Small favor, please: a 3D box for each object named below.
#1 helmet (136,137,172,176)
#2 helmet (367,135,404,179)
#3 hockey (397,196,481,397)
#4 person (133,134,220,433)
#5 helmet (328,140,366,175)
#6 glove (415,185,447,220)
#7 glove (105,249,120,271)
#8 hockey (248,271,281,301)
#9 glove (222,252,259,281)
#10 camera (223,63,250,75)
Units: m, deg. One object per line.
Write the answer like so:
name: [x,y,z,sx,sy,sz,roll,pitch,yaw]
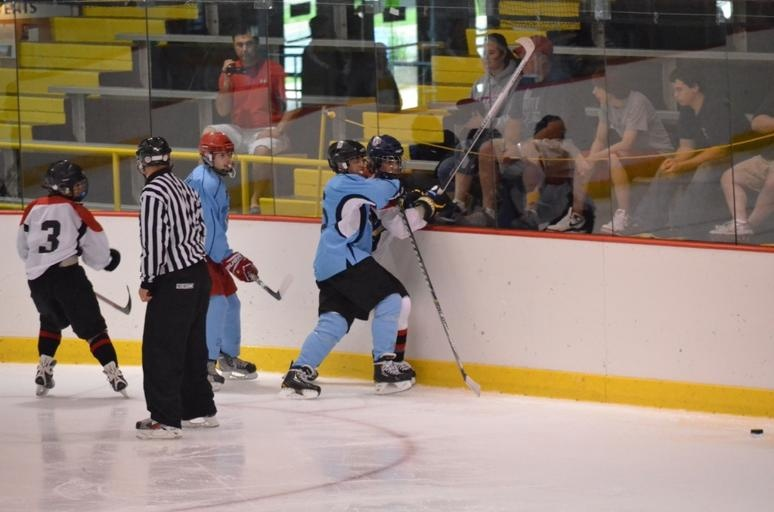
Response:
helmet: [-1.559,-0.683,7.224,0.227,0.256,0.273,-7,11,-30]
helmet: [-0.030,-0.758,8.112,0.346,0.309,0.275,-7,-6,37]
hockey: [0.423,0.299,8.113,0.154,1.525,0.240,-17,-9,-19]
person: [-1.412,0.328,7.062,0.278,1.736,0.468,4,8,36]
helmet: [-0.305,-0.757,8.133,0.290,0.251,0.231,-5,9,4]
glove: [0.352,-0.419,8.131,0.212,0.122,0.282,35,50,16]
glove: [-2.114,0.034,8.214,0.097,0.226,0.074,8,1,19]
hockey: [-0.943,0.256,8.415,0.213,0.062,0.212,40,8,-12]
glove: [-1.139,0.090,8.284,0.285,0.114,0.175,34,51,8]
camera: [-1.242,-1.538,8.740,0.152,0.036,0.086,-3,49,-1]
